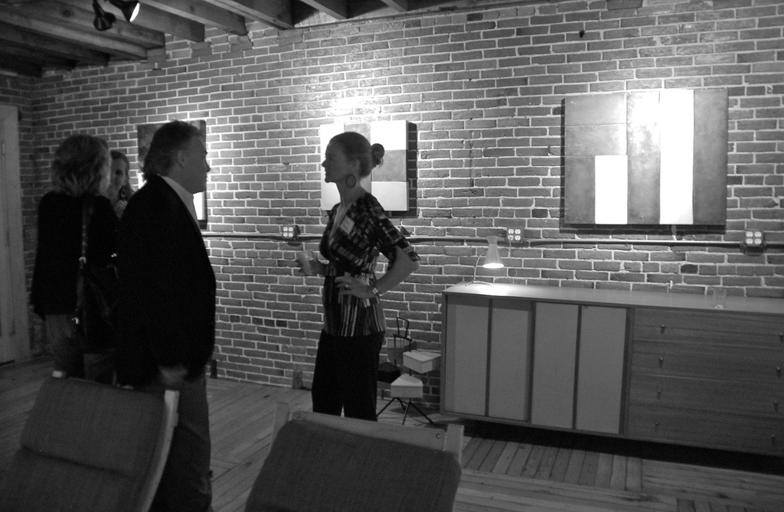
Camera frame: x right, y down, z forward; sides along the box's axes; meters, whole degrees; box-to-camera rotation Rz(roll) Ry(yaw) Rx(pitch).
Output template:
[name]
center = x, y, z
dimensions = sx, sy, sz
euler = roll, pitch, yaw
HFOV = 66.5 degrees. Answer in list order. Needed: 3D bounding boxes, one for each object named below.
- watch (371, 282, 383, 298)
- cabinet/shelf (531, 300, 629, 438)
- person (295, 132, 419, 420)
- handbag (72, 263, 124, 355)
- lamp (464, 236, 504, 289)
[watch]
center = -0.105, 0.202, 3.480
dimensions = 0.063, 0.091, 0.087
euler = 23, -20, -2
[cabinet/shelf]
center = 1.474, 0.888, 4.746
dimensions = 0.667, 0.979, 0.206
euler = 3, 15, 14
[person]
center = -0.203, 0.159, 3.469
dimensions = 0.672, 1.718, 0.784
euler = -3, 14, -9
[handbag]
center = -1.862, 0.297, 3.772
dimensions = 0.255, 0.525, 0.141
euler = 3, -4, -41
[lamp]
center = 0.814, 0.034, 5.280
dimensions = 0.323, 0.454, 0.341
euler = 2, 14, 10
